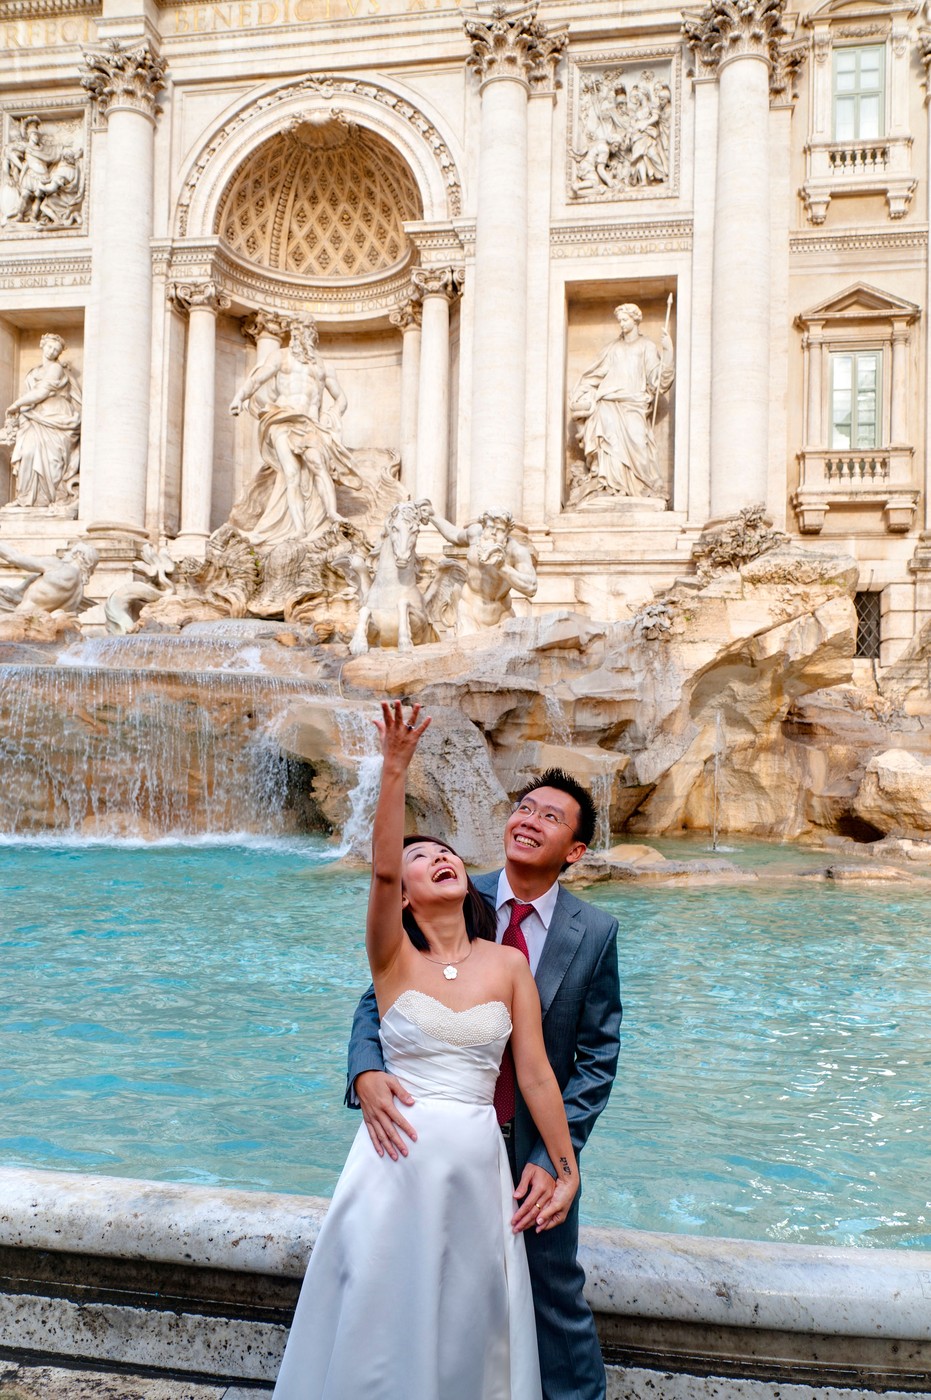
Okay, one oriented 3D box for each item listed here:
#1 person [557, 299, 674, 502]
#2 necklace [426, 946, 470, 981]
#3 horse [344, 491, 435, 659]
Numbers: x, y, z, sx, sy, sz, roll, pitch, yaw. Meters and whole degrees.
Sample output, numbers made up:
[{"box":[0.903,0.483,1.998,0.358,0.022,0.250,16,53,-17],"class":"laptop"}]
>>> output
[{"box":[2.073,-3.923,18.304,1.449,2.746,0.708,-1,-1,7],"class":"person"},{"box":[-0.022,0.398,2.036,0.044,0.043,0.017,-1,-9,-2],"class":"necklace"},{"box":[-0.760,-1.244,14.216,0.839,1.688,2.214,-1,-2,-3],"class":"horse"}]
